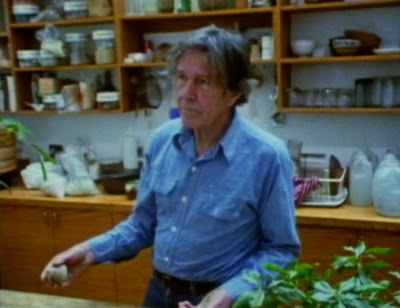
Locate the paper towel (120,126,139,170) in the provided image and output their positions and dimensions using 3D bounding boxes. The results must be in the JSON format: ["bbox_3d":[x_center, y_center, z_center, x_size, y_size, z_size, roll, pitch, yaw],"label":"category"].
[{"bbox_3d":[-0.516,-0.008,3.083,0.100,0.263,0.100,32,25,35],"label":"paper towel"}]

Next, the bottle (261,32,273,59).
[{"bbox_3d":[0.432,-0.673,2.703,0.089,0.148,0.094,-1,5,0],"label":"bottle"}]

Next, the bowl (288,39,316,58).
[{"bbox_3d":[0.653,-0.667,2.644,0.113,0.084,0.119,1,3,0],"label":"bowl"}]
